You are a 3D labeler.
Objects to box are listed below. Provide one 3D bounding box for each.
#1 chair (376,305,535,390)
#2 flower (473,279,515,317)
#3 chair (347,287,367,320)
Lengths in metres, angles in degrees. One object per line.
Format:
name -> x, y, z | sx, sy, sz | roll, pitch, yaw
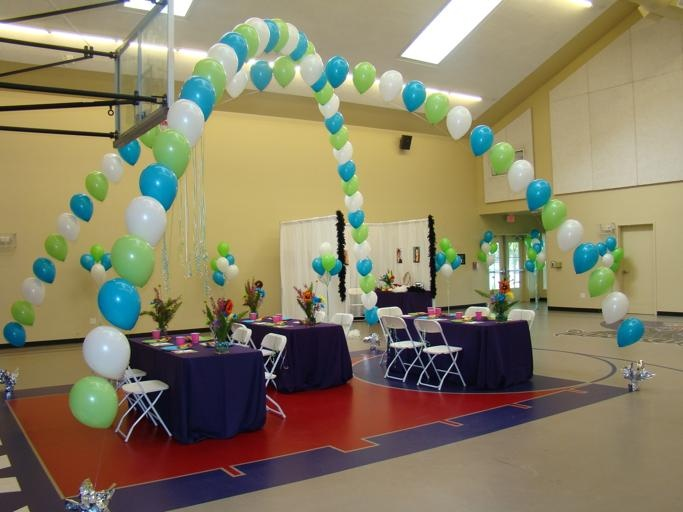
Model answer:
chair -> 1.691, 1.367, 6.926 | 1.989, 0.966, 1.052 | 1, 3, 33
flower -> 3.138, 0.859, 9.928 | 0.852, 0.912, 0.885 | -5, -6, 25
chair -> 0.400, 1.276, 12.785 | 0.366, 0.913, 0.842 | -1, 3, 6
